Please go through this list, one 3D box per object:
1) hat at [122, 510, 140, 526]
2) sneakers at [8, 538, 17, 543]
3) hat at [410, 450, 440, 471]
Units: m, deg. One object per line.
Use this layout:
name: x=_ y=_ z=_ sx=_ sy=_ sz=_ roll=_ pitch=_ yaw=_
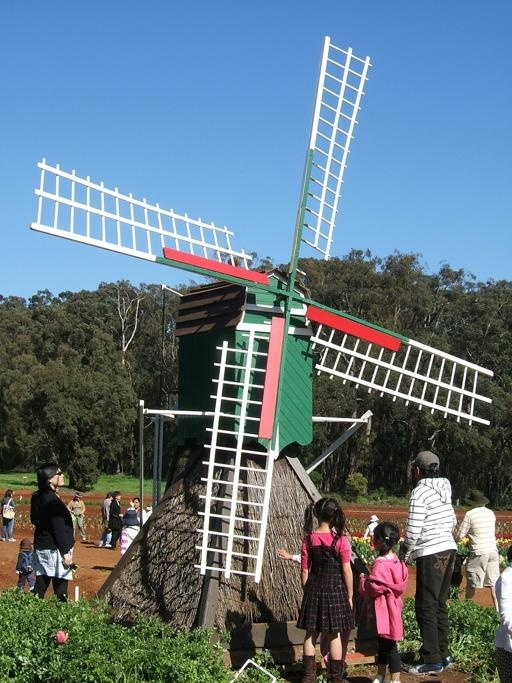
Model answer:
hat: x=-2.656 y=3.716 z=13.613 sx=0.380 sy=0.247 sz=0.457 roll=2 pitch=-4 yaw=-7
sneakers: x=-5.951 y=4.847 z=15.637 sx=0.087 sy=0.165 sz=0.254 roll=9 pitch=-17 yaw=-37
hat: x=1.495 y=1.065 z=5.805 sx=0.177 sy=0.124 sz=0.232 roll=1 pitch=0 yaw=-23
